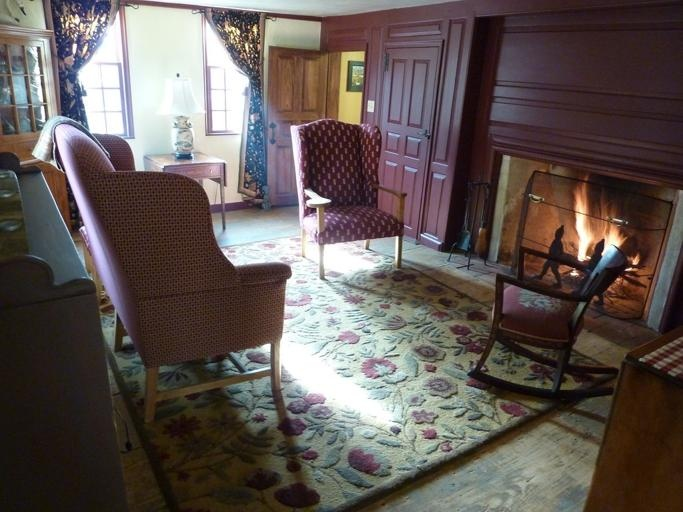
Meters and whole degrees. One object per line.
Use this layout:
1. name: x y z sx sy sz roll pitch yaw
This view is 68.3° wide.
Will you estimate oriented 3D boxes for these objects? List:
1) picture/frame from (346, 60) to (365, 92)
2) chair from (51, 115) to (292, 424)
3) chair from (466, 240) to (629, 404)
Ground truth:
1. picture/frame: 0.206 -2.545 7.198 0.248 0.418 0.110 -9 23 -29
2. chair: -1.061 -0.132 3.644 1.557 2.177 1.677 -8 23 -30
3. chair: 1.270 0.302 3.518 1.110 1.183 0.786 9 26 21
